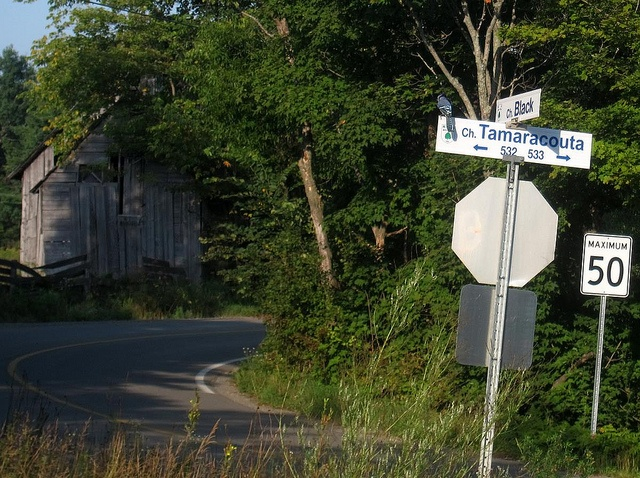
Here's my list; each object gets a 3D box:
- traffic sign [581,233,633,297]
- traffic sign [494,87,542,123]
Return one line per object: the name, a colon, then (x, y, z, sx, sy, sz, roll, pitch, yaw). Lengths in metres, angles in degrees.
traffic sign: (4.570, 0.423, 16.278, 0.897, 1.304, 0.090, 6, -14, 4)
traffic sign: (2.609, -1.757, 13.461, 0.699, 0.413, 0.201, -3, -8, 39)
